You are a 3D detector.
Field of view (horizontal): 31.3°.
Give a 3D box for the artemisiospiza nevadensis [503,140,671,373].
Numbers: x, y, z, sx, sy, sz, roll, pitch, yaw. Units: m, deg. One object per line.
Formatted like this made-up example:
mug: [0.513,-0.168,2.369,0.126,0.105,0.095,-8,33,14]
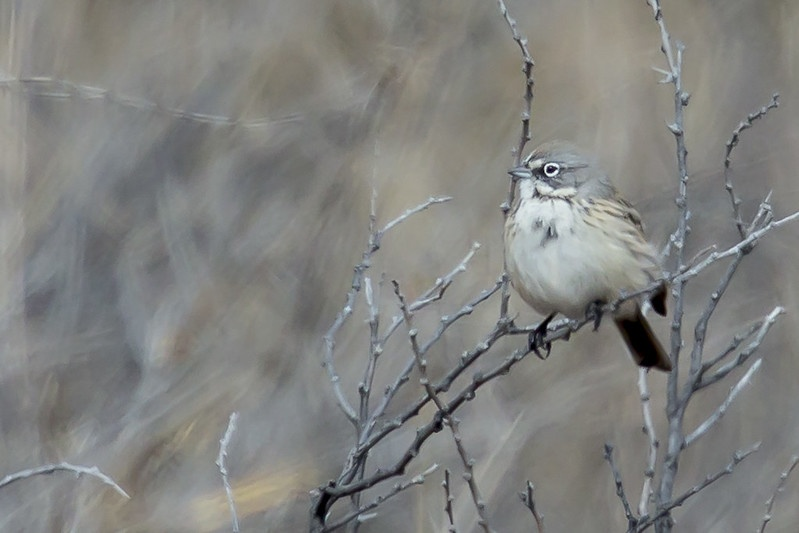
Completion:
artemisiospiza nevadensis: [1.432,-0.097,10.387,0.921,1.533,1.562,-9,-10,41]
